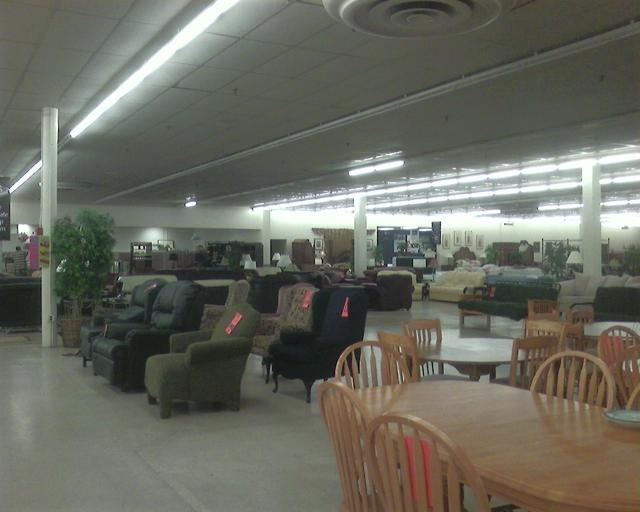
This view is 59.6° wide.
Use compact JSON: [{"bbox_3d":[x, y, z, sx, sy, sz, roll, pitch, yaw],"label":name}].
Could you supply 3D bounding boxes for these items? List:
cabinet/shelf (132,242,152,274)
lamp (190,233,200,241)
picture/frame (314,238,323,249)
[{"bbox_3d":[-6.573,0.038,20.478,0.835,0.760,6.659,-2,5,-17],"label":"cabinet/shelf"},{"bbox_3d":[-5.279,-0.802,23.609,0.449,0.308,0.474,1,0,1],"label":"lamp"},{"bbox_3d":[-0.089,-0.563,27.113,0.499,0.675,0.046,0,-1,2],"label":"picture/frame"}]
